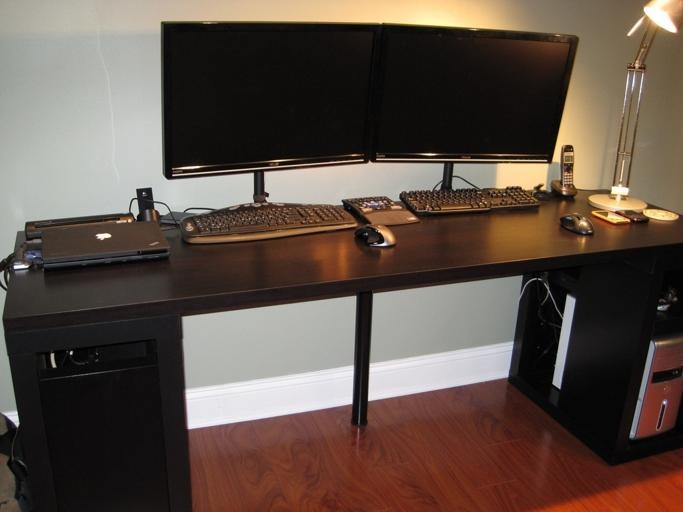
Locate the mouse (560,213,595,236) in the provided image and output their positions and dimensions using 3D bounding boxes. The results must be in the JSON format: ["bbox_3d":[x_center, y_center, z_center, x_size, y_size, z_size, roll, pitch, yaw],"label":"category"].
[{"bbox_3d":[0.857,-0.128,2.025,0.062,0.036,0.109,-7,25,-18],"label":"mouse"}]

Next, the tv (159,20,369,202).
[{"bbox_3d":[-0.278,-0.524,1.893,0.636,0.556,0.187,-6,24,-22],"label":"tv"}]

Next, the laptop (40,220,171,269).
[{"bbox_3d":[-0.729,-0.038,1.689,0.197,0.031,0.219,-7,26,-19],"label":"laptop"}]

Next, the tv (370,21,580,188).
[{"bbox_3d":[0.497,-0.616,2.158,0.702,0.523,0.210,-1,27,-11],"label":"tv"}]

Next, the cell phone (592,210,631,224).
[{"bbox_3d":[1.056,-0.154,2.165,0.100,0.019,0.173,-6,17,-19],"label":"cell phone"}]
